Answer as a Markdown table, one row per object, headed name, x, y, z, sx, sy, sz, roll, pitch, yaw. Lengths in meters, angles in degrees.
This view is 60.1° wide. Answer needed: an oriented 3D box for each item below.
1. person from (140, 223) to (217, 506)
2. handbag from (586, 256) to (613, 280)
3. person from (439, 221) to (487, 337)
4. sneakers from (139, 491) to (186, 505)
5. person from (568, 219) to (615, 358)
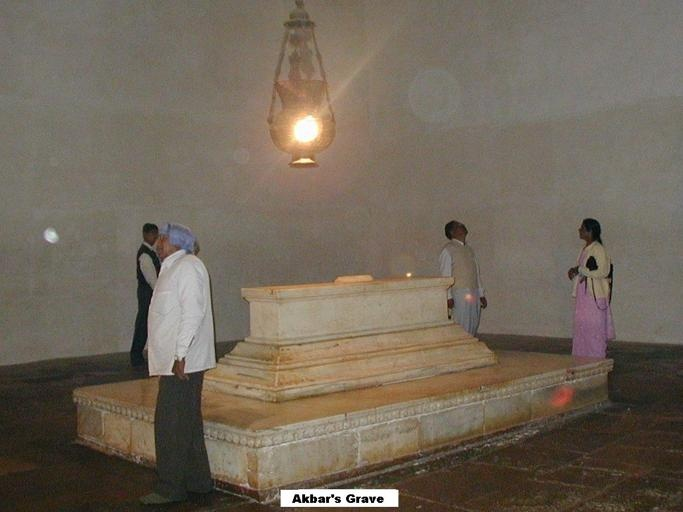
| name | x | y | z | sx | sy | sz | roll | pitch | yaw |
| --- | --- | --- | --- | --- | --- | --- | --- | --- | --- |
| person | -0.957 | 0.617 | 3.507 | 0.411 | 1.616 | 0.370 | -1 | 3 | -4 |
| handbag | 2.475 | 0.114 | 5.714 | 0.184 | 0.277 | 0.141 | -1 | 7 | 40 |
| person | 1.236 | 0.221 | 6.112 | 0.442 | 1.179 | 0.674 | 1 | 4 | 24 |
| sneakers | -1.043 | 1.403 | 3.415 | 0.169 | 0.045 | 0.099 | 2 | -1 | 5 |
| person | 2.458 | 0.309 | 5.817 | 0.399 | 1.343 | 0.244 | 1 | 4 | 27 |
